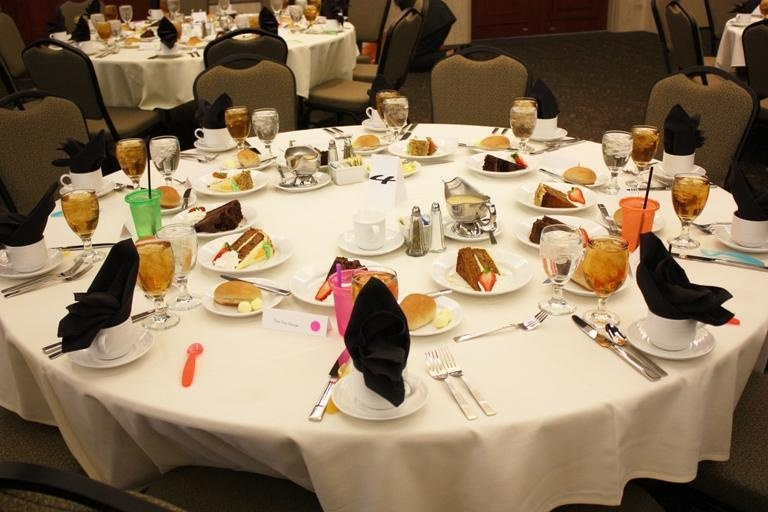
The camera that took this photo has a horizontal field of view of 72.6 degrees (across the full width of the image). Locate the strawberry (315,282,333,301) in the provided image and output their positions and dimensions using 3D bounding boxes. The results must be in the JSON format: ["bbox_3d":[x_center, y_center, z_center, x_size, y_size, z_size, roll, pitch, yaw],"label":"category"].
[{"bbox_3d":[-0.178,0.110,1.555,0.036,0.015,0.061,15,54,13],"label":"strawberry"}]

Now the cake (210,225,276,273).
[{"bbox_3d":[-0.473,-0.013,1.736,0.165,0.052,0.126,-31,46,-29],"label":"cake"}]

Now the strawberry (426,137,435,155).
[{"bbox_3d":[0.224,-0.517,2.476,0.059,0.060,0.069,-3,27,-2],"label":"strawberry"}]

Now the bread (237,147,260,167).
[{"bbox_3d":[-0.626,-0.437,2.428,0.104,0.089,0.117,-1,27,-17],"label":"bread"}]

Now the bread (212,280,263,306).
[{"bbox_3d":[-0.441,0.111,1.545,0.103,0.053,0.075,5,14,-5],"label":"bread"}]

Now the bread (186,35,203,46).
[{"bbox_3d":[-1.739,-1.954,4.809,0.131,0.042,0.154,-7,45,-9],"label":"bread"}]

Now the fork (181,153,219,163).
[{"bbox_3d":[-0.901,-0.475,2.546,0.214,0.028,0.072,6,34,24],"label":"fork"}]

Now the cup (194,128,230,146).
[{"bbox_3d":[-0.877,-0.572,2.636,0.180,0.092,0.145,-2,28,0],"label":"cup"}]

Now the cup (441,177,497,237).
[{"bbox_3d":[0.307,-0.172,1.904,0.151,0.171,0.245,-21,37,-28],"label":"cup"}]

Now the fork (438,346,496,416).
[{"bbox_3d":[0.190,0.312,1.363,0.047,0.043,0.299,-10,37,-20],"label":"fork"}]

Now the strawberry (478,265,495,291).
[{"bbox_3d":[0.307,0.073,1.573,0.046,0.064,0.029,2,-10,-23],"label":"strawberry"}]

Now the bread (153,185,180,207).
[{"bbox_3d":[-0.846,-0.228,2.063,0.068,0.054,0.094,-3,30,-18],"label":"bread"}]

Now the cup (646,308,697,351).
[{"bbox_3d":[0.757,0.192,1.394,0.103,0.082,0.106,-1,20,0],"label":"cup"}]

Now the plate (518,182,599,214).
[{"bbox_3d":[0.665,-0.215,1.999,0.185,0.077,0.173,-11,21,-19],"label":"plate"}]

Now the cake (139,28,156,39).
[{"bbox_3d":[-2.326,-2.177,5.169,0.157,0.071,0.157,-11,25,-38],"label":"cake"}]

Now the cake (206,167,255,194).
[{"bbox_3d":[-0.652,-0.316,2.214,0.172,0.087,0.103,2,11,23],"label":"cake"}]

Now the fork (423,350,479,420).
[{"bbox_3d":[0.164,0.314,1.309,0.052,0.034,0.229,-3,42,-22],"label":"fork"}]

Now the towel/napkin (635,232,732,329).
[{"bbox_3d":[0.762,0.064,1.338,0.243,0.172,0.136,19,38,29],"label":"towel/napkin"}]

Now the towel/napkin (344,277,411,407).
[{"bbox_3d":[-0.018,0.211,1.232,0.150,0.257,0.193,-1,32,2],"label":"towel/napkin"}]

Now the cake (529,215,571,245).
[{"bbox_3d":[0.555,-0.100,1.783,0.104,0.078,0.109,5,31,19],"label":"cake"}]

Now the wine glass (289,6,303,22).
[{"bbox_3d":[-0.958,-2.560,5.554,0.134,0.144,0.136,30,54,20],"label":"wine glass"}]

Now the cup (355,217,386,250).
[{"bbox_3d":[-0.046,-0.080,1.759,0.084,0.087,0.115,1,29,1],"label":"cup"}]

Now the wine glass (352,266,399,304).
[{"bbox_3d":[-0.025,0.067,1.419,0.089,0.069,0.092,1,21,2],"label":"wine glass"}]

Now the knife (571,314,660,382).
[{"bbox_3d":[0.595,0.225,1.435,0.059,0.041,0.348,-17,31,-16],"label":"knife"}]

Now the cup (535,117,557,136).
[{"bbox_3d":[0.803,-0.638,2.608,0.099,0.078,0.093,-2,27,1],"label":"cup"}]

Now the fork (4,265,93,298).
[{"bbox_3d":[-1.075,0.088,1.670,0.208,0.031,0.029,-20,51,-34],"label":"fork"}]

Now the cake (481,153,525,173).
[{"bbox_3d":[0.522,-0.405,2.278,0.148,0.065,0.085,2,13,12],"label":"cake"}]

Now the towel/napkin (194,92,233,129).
[{"bbox_3d":[-0.830,-0.697,2.568,0.173,0.184,0.073,5,-1,22],"label":"towel/napkin"}]

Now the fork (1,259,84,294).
[{"bbox_3d":[-1.115,0.072,1.702,0.173,0.029,0.035,-25,50,-29],"label":"fork"}]

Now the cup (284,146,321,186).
[{"bbox_3d":[-0.346,-0.395,2.329,0.145,0.163,0.164,18,32,32],"label":"cup"}]

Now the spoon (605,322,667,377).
[{"bbox_3d":[0.650,0.253,1.363,0.050,0.028,0.199,-20,37,-6],"label":"spoon"}]

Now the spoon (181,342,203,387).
[{"bbox_3d":[-0.504,0.284,1.375,0.031,0.025,0.101,5,37,-6],"label":"spoon"}]

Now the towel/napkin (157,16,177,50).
[{"bbox_3d":[-1.796,-1.837,4.350,0.136,0.238,0.232,-14,34,-18],"label":"towel/napkin"}]

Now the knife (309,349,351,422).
[{"bbox_3d":[-0.132,0.329,1.304,0.038,0.013,0.242,0,32,18],"label":"knife"}]

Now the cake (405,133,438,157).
[{"bbox_3d":[0.184,-0.522,2.446,0.111,0.073,0.109,-13,21,-36],"label":"cake"}]

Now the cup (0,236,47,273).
[{"bbox_3d":[-1.160,0.005,1.714,0.125,0.096,0.094,-8,28,-25],"label":"cup"}]

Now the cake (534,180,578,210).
[{"bbox_3d":[0.639,-0.226,1.974,0.119,0.045,0.097,-2,28,-10],"label":"cake"}]

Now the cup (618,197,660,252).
[{"bbox_3d":[0.792,-0.095,1.638,0.119,0.147,0.119,-3,28,2],"label":"cup"}]
